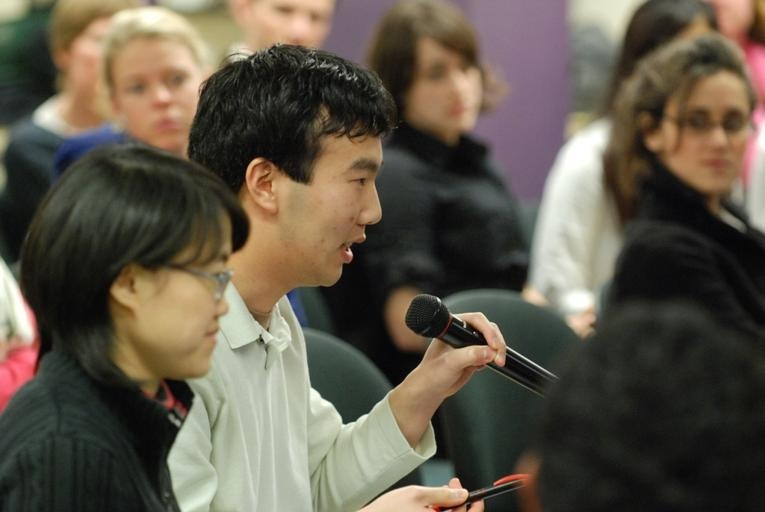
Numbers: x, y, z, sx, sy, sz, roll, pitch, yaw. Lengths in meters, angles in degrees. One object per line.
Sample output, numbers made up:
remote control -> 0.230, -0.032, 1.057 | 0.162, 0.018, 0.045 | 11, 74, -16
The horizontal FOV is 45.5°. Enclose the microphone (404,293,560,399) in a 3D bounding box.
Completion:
microphone -> 0.179, 0.156, 1.591 | 0.296, 0.061, 0.068 | 30, -15, -17
